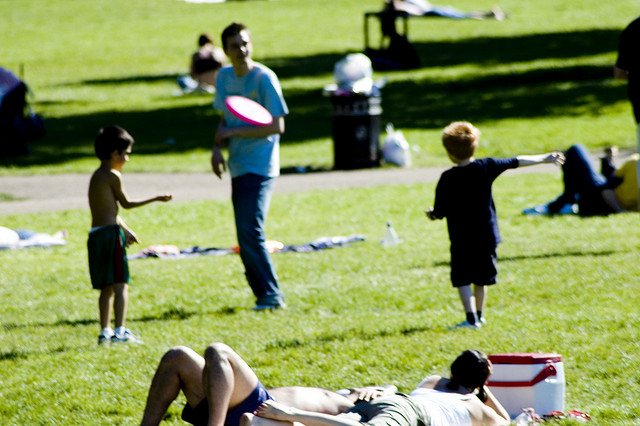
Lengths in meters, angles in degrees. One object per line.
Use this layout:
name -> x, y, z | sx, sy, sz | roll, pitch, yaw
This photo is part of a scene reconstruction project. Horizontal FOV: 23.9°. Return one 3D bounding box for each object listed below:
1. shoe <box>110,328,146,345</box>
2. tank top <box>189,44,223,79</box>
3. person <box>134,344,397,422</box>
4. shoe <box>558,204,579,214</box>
shoe -> -2.807, 1.803, 21.895 | 0.560, 0.238, 0.189 | 0, 0, -4
tank top -> -2.651, -3.458, 34.940 | 0.797, 0.691, 0.687 | 30, 1, -20
person -> -0.883, 2.337, 19.913 | 2.259, 0.810, 1.418 | 7, -17, -19
shoe -> 4.366, -0.070, 26.387 | 0.393, 0.151, 0.168 | -11, 14, -29
